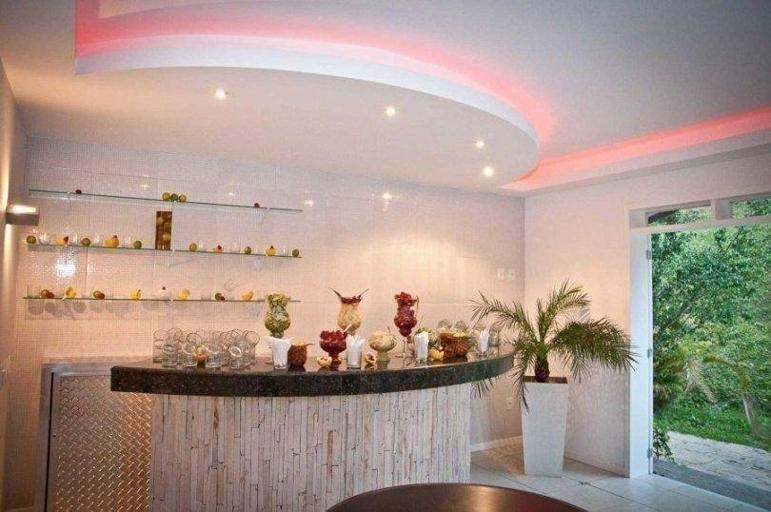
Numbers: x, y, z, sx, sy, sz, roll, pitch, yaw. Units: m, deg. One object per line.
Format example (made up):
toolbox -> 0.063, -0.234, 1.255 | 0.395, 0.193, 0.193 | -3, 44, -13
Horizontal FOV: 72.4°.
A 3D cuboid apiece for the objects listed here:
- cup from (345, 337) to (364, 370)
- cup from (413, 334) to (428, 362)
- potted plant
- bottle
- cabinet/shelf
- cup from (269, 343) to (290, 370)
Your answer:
cup -> -0.258, 0.805, 4.399 | 0.137, 0.279, 0.211 | 2, -6, -6
cup -> 0.333, 0.829, 4.720 | 0.152, 0.254, 0.145 | 2, -6, 0
potted plant -> 2.272, 1.445, 6.864 | 1.900, 2.068, 2.029 | 4, -7, -24
bottle -> -1.548, 0.777, 4.432 | 0.897, 0.302, 0.446 | 0, -6, 17
cabinet/shelf -> -2.239, -0.166, 5.322 | 2.770, 0.428, 1.199 | 1, 31, -19
cup -> -0.869, 0.817, 4.345 | 0.193, 0.198, 0.195 | -2, 0, 0
